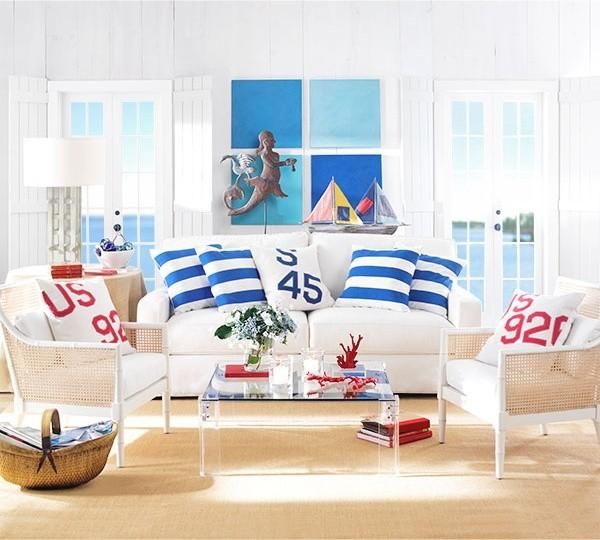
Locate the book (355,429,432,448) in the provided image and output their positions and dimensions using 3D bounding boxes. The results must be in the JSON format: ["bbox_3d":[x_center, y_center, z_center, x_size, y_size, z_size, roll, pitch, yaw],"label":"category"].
[{"bbox_3d":[0.465,0.868,3.789,0.244,0.034,0.187,-4,7,-39],"label":"book"}]

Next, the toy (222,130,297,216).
[{"bbox_3d":[-0.300,-0.895,6.813,0.806,0.952,0.469,-6,8,-11],"label":"toy"}]

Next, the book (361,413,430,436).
[{"bbox_3d":[0.480,0.800,3.801,0.210,0.052,0.147,0,-1,-28],"label":"book"}]

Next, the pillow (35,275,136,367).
[{"bbox_3d":[-1.109,0.219,3.800,0.133,0.464,0.418,-32,-24,31],"label":"pillow"}]

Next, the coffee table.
[{"bbox_3d":[0.003,0.688,3.773,0.998,0.448,0.804,1,12,7],"label":"coffee table"}]

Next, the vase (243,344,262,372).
[{"bbox_3d":[-0.241,0.455,3.774,0.114,0.187,0.110,1,-1,-9],"label":"vase"}]

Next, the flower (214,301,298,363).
[{"bbox_3d":[-0.247,0.293,3.861,0.318,0.248,0.333,0,1,-29],"label":"flower"}]

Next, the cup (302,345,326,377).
[{"bbox_3d":[0.066,0.476,3.749,0.115,0.140,0.118,0,-1,0],"label":"cup"}]

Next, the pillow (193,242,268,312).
[{"bbox_3d":[-0.450,0.032,4.744,0.127,0.411,0.432,-33,-15,39],"label":"pillow"}]

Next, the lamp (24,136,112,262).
[{"bbox_3d":[-1.649,-0.445,5.163,0.486,0.981,1.410,-4,13,-20],"label":"lamp"}]
